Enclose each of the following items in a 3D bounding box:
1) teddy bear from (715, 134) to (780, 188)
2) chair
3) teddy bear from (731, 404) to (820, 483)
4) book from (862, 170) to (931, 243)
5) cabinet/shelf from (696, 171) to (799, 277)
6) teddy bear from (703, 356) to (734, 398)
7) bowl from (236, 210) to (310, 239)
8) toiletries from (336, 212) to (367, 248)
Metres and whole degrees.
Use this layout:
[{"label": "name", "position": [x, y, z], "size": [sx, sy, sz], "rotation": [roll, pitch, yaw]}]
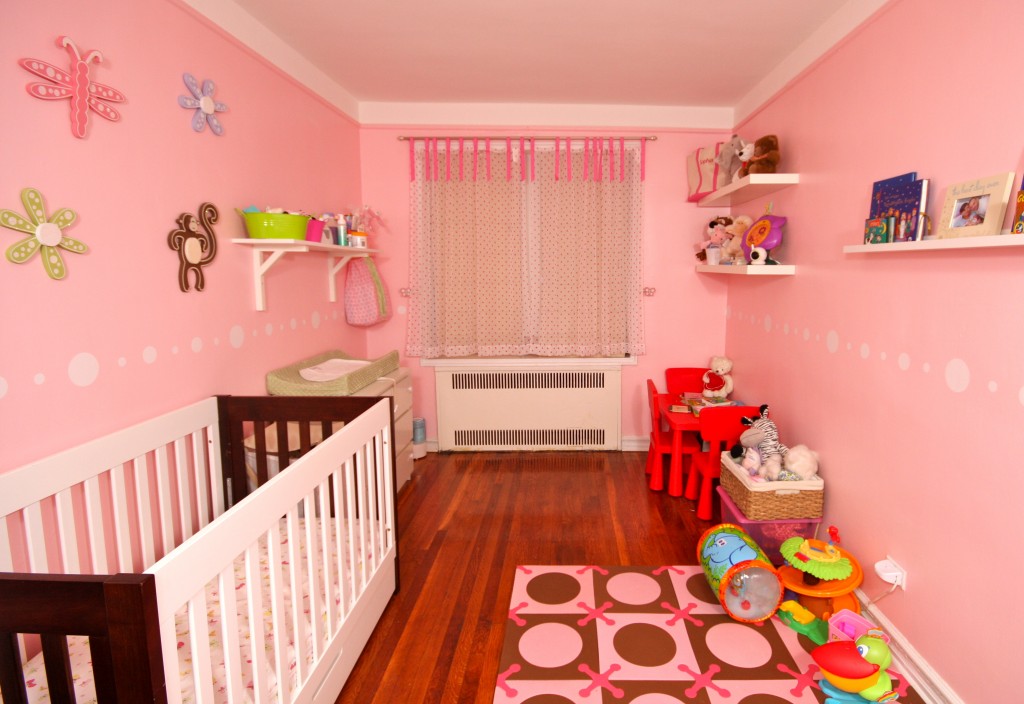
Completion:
[{"label": "teddy bear", "position": [1.337, -1.084, 3.973], "size": [0.285, 0.258, 0.532], "rotation": [-1, 9, 1]}, {"label": "chair", "position": [1.104, 0.561, 4.306], "size": [0.544, 0.418, 0.855], "rotation": [0, 3, 2]}, {"label": "teddy bear", "position": [1.329, 0.499, 3.573], "size": [0.356, 0.351, 0.251], "rotation": [0, 0, 20]}, {"label": "book", "position": [1.575, -0.595, 2.900], "size": [0.089, 0.271, 0.280], "rotation": [-5, 10, -20]}, {"label": "cabinet/shelf", "position": [1.357, -0.728, 4.189], "size": [0.398, 0.558, 1.066], "rotation": [0, 9, 7]}, {"label": "teddy bear", "position": [1.350, 0.180, 4.602], "size": [0.193, 0.268, 0.142], "rotation": [8, -9, 27]}, {"label": "bowl", "position": [-1.170, -0.612, 3.400], "size": [0.189, 0.069, 0.184], "rotation": [0, 5, 0]}, {"label": "toiletries", "position": [-0.978, -0.747, 4.260], "size": [0.170, 0.226, 0.634], "rotation": [-4, 9, -14]}]
